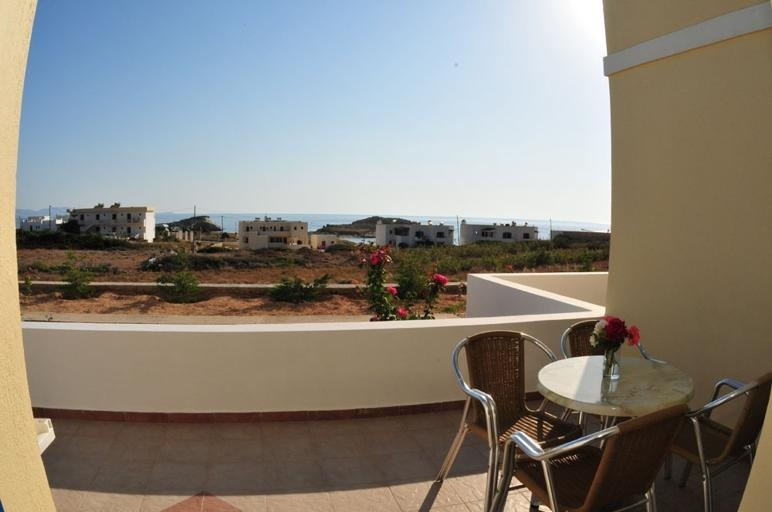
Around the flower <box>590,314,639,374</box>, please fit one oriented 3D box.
[{"bbox_3d":[1.329,0.472,3.014,0.317,0.370,0.353,1,3,20],"label":"flower"}]
